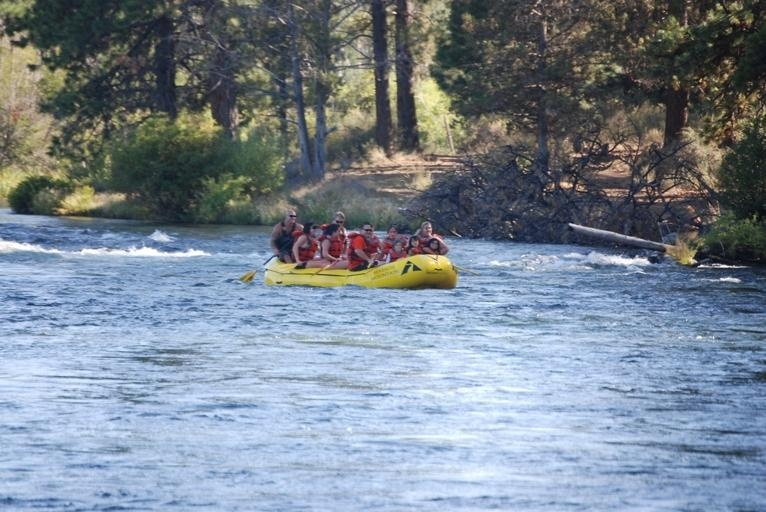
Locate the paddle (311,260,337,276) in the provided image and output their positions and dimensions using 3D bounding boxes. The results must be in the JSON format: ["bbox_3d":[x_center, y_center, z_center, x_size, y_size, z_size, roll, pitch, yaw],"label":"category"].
[{"bbox_3d":[-1.439,0.342,50.325,1.642,0.217,0.087,-12,-11,-42],"label":"paddle"}]

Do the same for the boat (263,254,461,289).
[{"bbox_3d":[-0.362,0.642,49.940,4.430,0.639,2.007,-2,-4,20],"label":"boat"}]
